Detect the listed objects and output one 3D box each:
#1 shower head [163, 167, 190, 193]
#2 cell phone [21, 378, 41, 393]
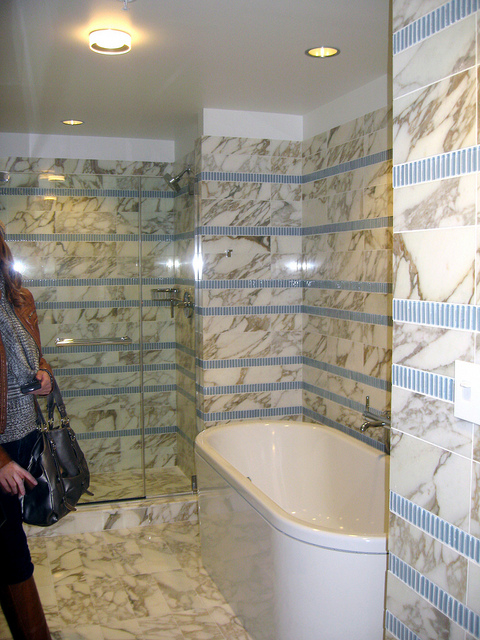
[{"bbox_3d":[-0.418,-0.922,3.403,0.171,0.150,0.152,-1,0,-8],"label":"shower head"},{"bbox_3d":[-0.710,0.219,1.754,0.062,0.050,0.055,-1,0,-23],"label":"cell phone"}]
